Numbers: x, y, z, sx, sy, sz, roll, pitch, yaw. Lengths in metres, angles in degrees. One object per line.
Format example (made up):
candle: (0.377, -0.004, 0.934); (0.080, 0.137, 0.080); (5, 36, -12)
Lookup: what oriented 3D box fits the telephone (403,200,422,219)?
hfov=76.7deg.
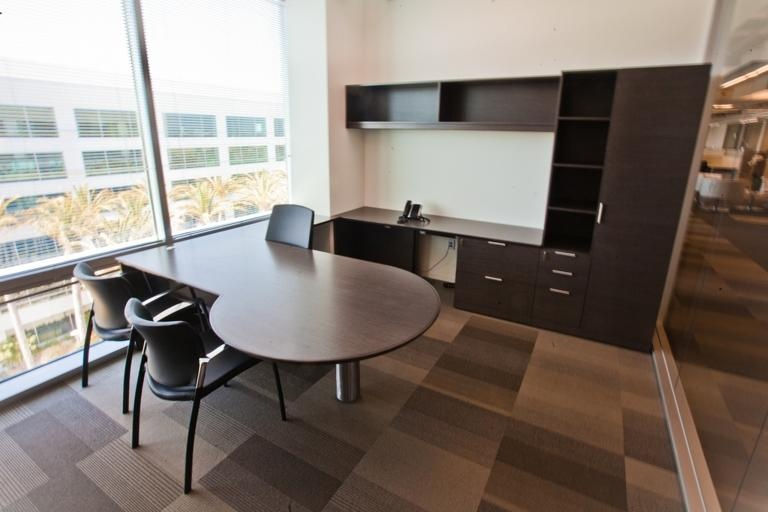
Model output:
telephone: (0.354, -0.510, 5.781); (0.205, 0.241, 0.253); (13, 2, 7)

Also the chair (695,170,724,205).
chair: (2.726, -0.564, 4.062); (0.190, 0.290, 0.190); (-5, 20, -19)

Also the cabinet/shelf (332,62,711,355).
cabinet/shelf: (1.228, -0.597, 5.582); (3.651, 2.655, 0.737); (11, 14, 33)

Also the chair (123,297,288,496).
chair: (-1.482, 0.927, 4.014); (0.909, 1.270, 1.037); (16, 23, 33)

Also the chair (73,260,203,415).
chair: (-2.199, 0.642, 4.438); (0.851, 1.130, 0.941); (6, 12, 16)
